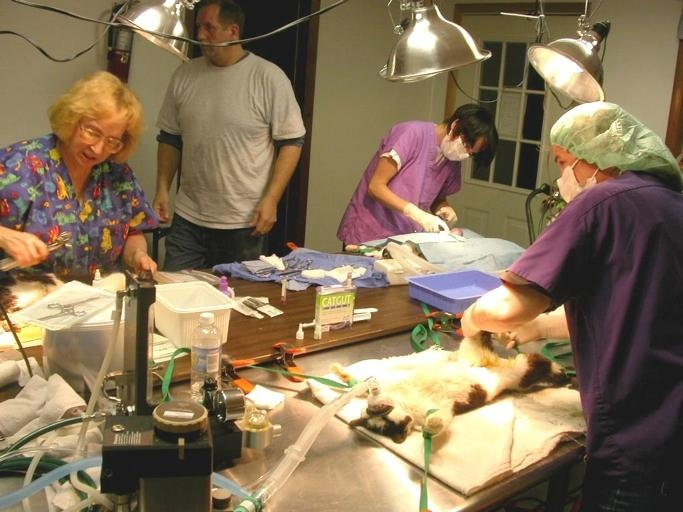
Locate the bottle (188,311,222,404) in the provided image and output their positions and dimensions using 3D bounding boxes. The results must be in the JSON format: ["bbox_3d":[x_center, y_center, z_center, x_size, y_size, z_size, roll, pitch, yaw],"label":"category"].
[{"bbox_3d":[-0.385,0.294,1.704,0.082,0.264,0.195,0,9,-13],"label":"bottle"}]

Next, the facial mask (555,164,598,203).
[{"bbox_3d":[0.772,-0.219,1.952,0.118,0.068,0.110,-36,23,-19],"label":"facial mask"}]

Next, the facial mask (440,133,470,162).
[{"bbox_3d":[0.668,-0.619,3.530,0.137,0.086,0.147,9,41,-24],"label":"facial mask"}]
